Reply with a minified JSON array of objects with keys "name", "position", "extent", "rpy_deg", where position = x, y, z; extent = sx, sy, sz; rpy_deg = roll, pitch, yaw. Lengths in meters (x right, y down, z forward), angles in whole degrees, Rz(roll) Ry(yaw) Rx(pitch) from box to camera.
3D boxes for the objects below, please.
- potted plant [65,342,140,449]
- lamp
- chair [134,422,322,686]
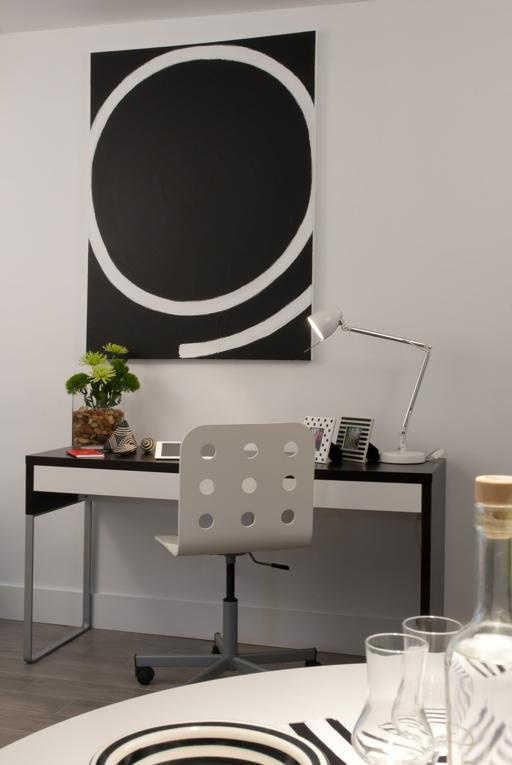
[{"name":"potted plant","position":[-0.574,0.062,2.800],"extent":[0.326,0.437,0.308],"rpy_deg":[6,-12,-7]},{"name":"lamp","position":[0.388,0.004,2.530],"extent":[0.429,0.486,0.380],"rpy_deg":[3,6,8]},{"name":"chair","position":[-0.076,0.533,2.206],"extent":[0.469,0.884,0.509],"rpy_deg":[7,8,40]}]
